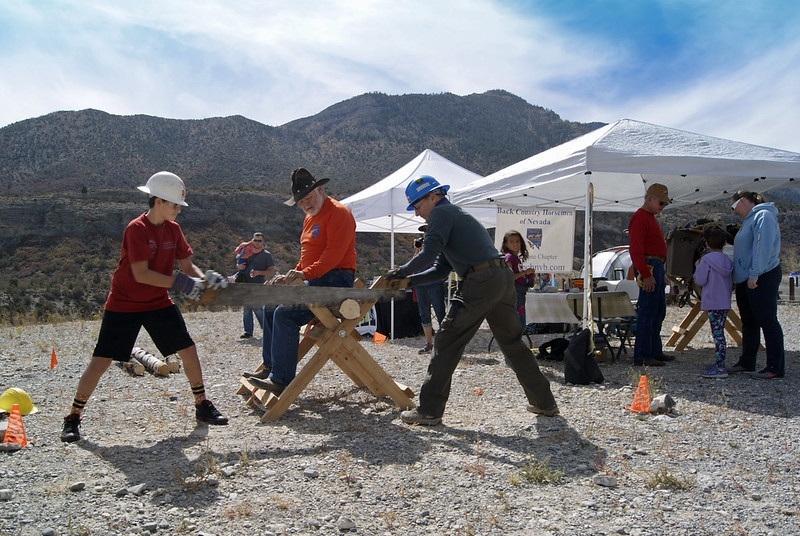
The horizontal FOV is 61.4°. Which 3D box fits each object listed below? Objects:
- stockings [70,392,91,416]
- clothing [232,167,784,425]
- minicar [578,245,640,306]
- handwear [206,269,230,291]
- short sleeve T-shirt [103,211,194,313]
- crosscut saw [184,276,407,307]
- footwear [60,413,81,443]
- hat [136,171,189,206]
[{"bbox_3d":[-3.770,1.618,7.900,0.204,0.324,0.216,-10,18,-31],"label":"stockings"},{"bbox_3d":[0.998,0.614,9.750,4.945,4.277,1.966,2,-7,5],"label":"clothing"},{"bbox_3d":[4.510,0.181,14.399,1.293,1.283,1.270,5,-7,-27],"label":"minicar"},{"bbox_3d":[-2.117,0.147,7.746,0.245,0.259,0.191,-16,3,7],"label":"handwear"},{"bbox_3d":[-3.019,-0.065,8.096,0.736,1.111,0.974,9,7,37],"label":"short sleeve T-shirt"},{"bbox_3d":[-1.219,0.319,7.942,2.315,0.422,0.418,-2,15,-7],"label":"crosscut saw"},{"bbox_3d":[-3.858,1.859,7.868,0.209,0.289,0.287,-7,16,-23],"label":"footwear"},{"bbox_3d":[-2.833,-0.993,8.016,0.671,0.354,0.508,12,12,-2],"label":"hat"}]
